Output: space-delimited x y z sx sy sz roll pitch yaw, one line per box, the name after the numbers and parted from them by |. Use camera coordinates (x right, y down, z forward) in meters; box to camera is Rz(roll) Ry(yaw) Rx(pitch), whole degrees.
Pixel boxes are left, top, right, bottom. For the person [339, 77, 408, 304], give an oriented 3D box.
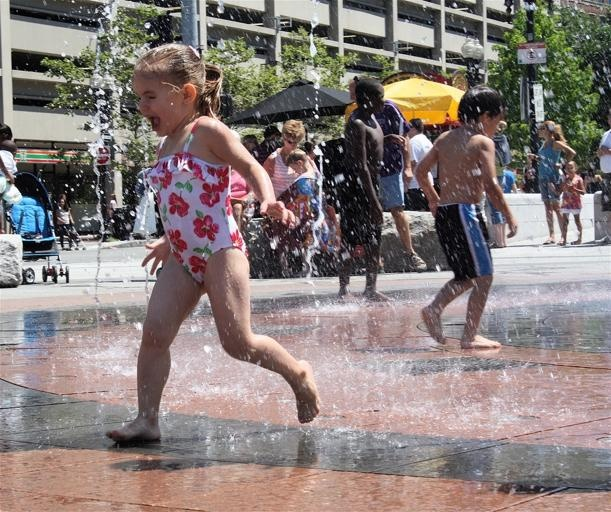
0.617 -0.747 7.971 0.557 2.416 0.485 0 4 12 | person

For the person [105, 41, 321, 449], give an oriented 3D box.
-0.348 -0.089 2.864 0.770 1.535 0.657 -1 4 -1 | person

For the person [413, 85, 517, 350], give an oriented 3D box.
1.107 -0.309 5.066 0.739 1.779 0.689 1 4 24 | person

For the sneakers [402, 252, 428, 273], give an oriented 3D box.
1.584 0.087 10.664 0.242 0.258 0.550 -2 -5 -8 | sneakers
